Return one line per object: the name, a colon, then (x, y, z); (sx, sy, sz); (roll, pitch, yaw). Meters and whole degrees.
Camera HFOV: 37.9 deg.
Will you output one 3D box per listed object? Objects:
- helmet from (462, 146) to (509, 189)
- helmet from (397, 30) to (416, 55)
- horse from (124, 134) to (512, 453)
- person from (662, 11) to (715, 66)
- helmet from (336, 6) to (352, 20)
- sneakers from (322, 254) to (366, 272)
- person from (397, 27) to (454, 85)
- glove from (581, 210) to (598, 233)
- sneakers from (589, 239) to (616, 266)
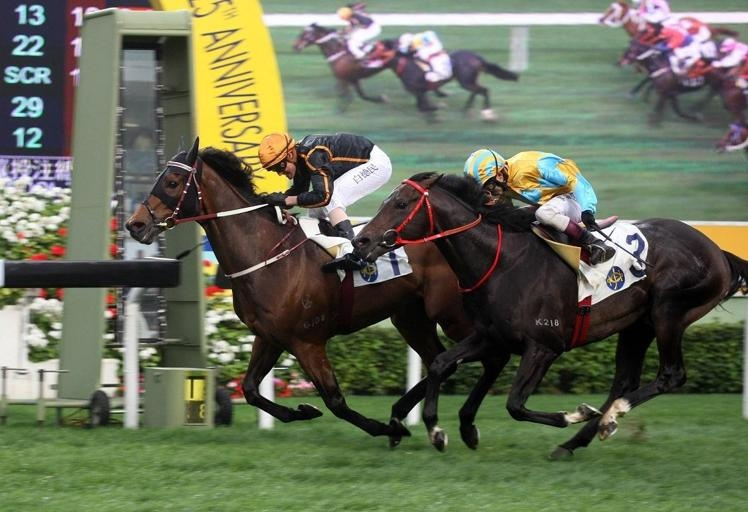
helmet: (0.766, -0.613, 7.641); (0.385, 0.215, 0.239); (14, -1, -6)
helmet: (0.460, -2.953, 15.102); (0.282, 0.246, 0.141); (3, 3, 20)
horse: (-0.390, 0.258, 8.304); (1.035, 1.979, 4.215); (3, 1, 37)
person: (4.299, -2.985, 14.811); (1.010, 0.217, 0.581); (21, 5, 17)
helmet: (-0.397, -3.351, 15.130); (0.214, 0.215, 0.076); (0, 9, -3)
sneakers: (-0.193, 0.055, 7.442); (0.380, 0.096, 0.115); (-2, -41, -2)
person: (0.797, -2.782, 15.210); (0.657, 0.824, 0.314); (-37, 14, 11)
glove: (1.482, -0.241, 7.463); (0.123, 0.132, 0.055); (-30, -13, 38)
sneakers: (1.525, -0.023, 7.315); (0.230, 0.110, 0.093); (-20, 14, 42)
